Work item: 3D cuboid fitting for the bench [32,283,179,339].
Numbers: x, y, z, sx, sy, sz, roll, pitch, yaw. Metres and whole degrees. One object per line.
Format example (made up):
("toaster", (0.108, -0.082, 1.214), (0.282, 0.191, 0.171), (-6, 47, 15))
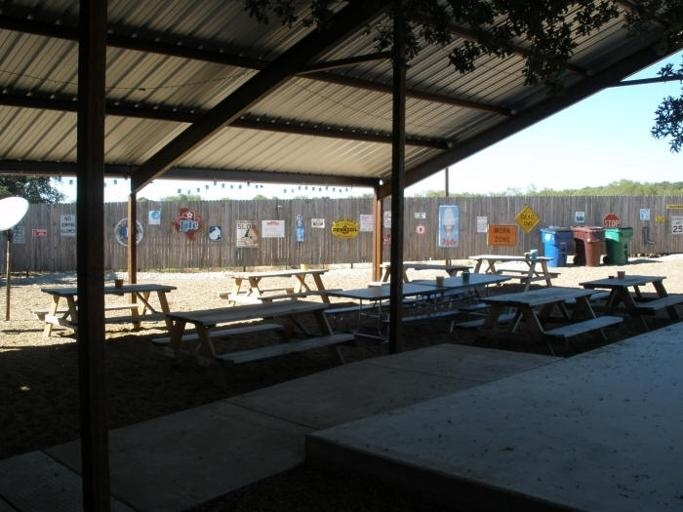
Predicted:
("bench", (-3.416, 0.830, 7.896), (1.223, 0.534, 1.162), (-2, 6, -44))
